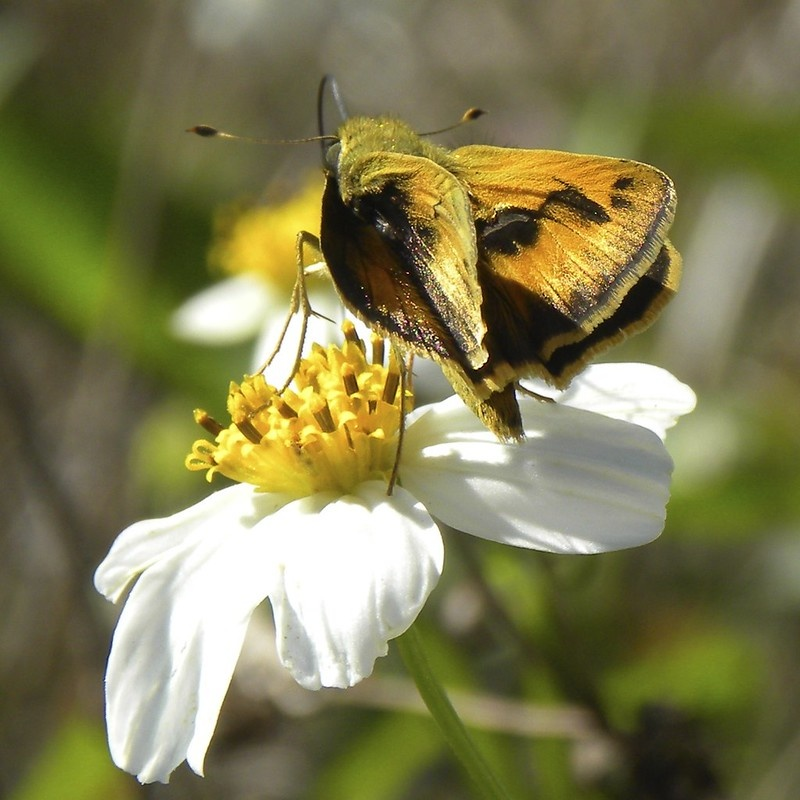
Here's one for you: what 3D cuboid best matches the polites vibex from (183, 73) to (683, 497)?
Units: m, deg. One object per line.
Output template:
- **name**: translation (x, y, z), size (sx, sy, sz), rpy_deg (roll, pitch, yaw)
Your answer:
- **polites vibex**: translation (0.034, -0.100, 1.022), size (0.411, 0.242, 0.365), rpy_deg (26, 18, 25)
